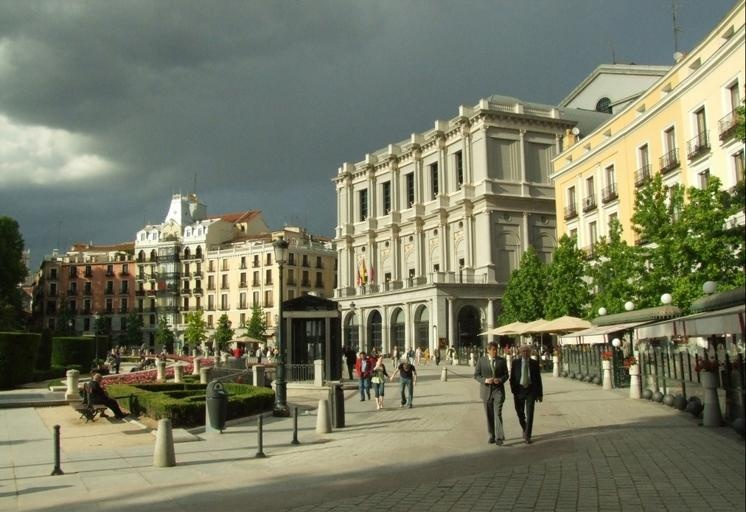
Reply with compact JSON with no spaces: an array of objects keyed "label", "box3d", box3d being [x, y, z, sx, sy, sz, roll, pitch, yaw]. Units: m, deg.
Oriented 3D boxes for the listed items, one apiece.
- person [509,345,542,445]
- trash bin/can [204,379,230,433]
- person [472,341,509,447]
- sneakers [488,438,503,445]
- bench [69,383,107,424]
[{"label":"person","box3d":[4.712,4.182,23.548,0.906,2.888,1.568,-4,-9,9]},{"label":"trash bin/can","box3d":[-5.234,5.052,25.987,0.680,1.724,0.746,2,-10,-26]},{"label":"person","box3d":[3.670,4.137,23.386,0.976,3.061,1.359,-4,-9,9]},{"label":"sneakers","box3d":[3.650,5.513,22.916,0.157,0.203,0.474,4,-19,-15]},{"label":"bench","box3d":[-10.340,5.329,28.058,1.046,1.162,1.931,2,-6,-24]}]
